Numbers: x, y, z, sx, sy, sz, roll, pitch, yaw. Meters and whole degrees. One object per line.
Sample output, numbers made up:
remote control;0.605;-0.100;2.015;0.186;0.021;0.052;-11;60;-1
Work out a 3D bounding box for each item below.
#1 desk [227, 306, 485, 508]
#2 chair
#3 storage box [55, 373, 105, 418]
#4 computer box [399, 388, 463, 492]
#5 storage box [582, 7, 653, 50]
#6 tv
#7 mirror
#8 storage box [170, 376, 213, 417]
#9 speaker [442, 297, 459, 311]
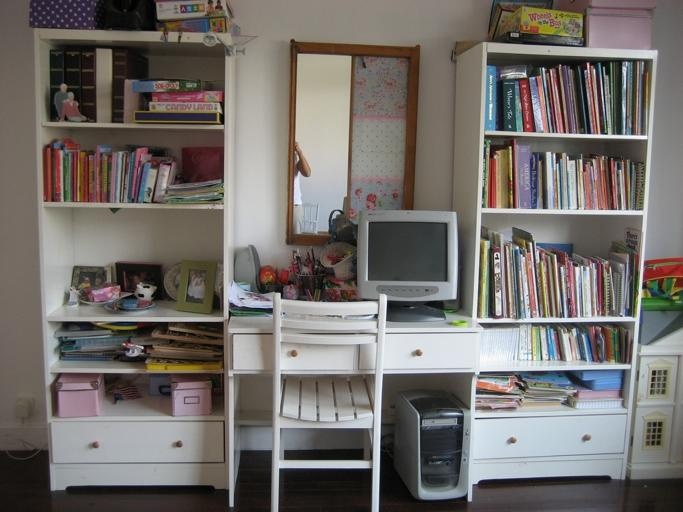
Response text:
desk;0.000;0.518;3.315;1.590;1.243;0.980;0;3;0
chair;-0.060;0.716;3.058;0.567;1.130;0.463;0;5;3
storage box;-1.347;0.696;3.151;0.227;0.157;0.219;1;6;-4
computer box;0.501;1.052;3.312;0.294;0.447;0.475;2;-12;-3
storage box;1.425;-1.157;3.143;0.354;0.221;0.205;1;6;-5
tv;0.362;0.048;3.236;0.535;0.532;0.354;1;-1;13
mirror;0.059;-0.609;3.336;0.711;1.074;0.052;-1;5;-4
storage box;-0.723;0.751;3.233;0.311;0.172;0.294;-4;-10;-1
speaker;0.585;0.261;3.268;0.072;0.063;0.068;1;-3;-10
